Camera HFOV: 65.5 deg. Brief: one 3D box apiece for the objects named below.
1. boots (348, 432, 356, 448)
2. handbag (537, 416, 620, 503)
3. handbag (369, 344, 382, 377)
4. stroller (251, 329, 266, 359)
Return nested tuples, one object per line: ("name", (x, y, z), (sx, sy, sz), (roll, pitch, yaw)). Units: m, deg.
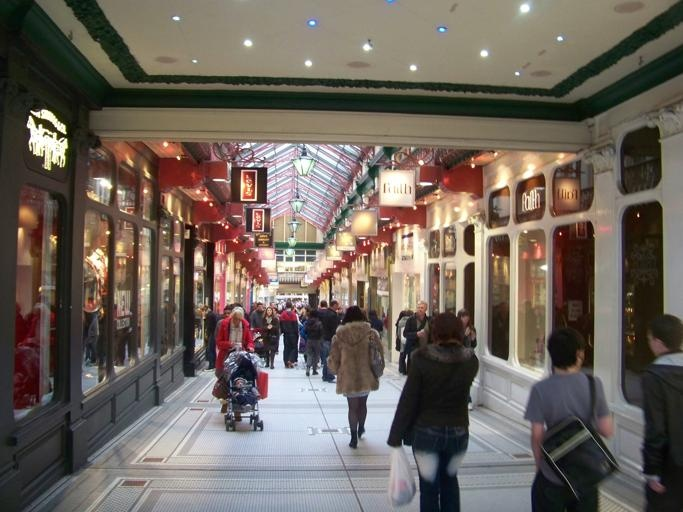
("boots", (0.131, 2.618, 7.618), (0.085, 0.220, 0.210), (1, 0, -1))
("handbag", (1.883, 1.616, 4.384), (0.467, 0.634, 0.638), (-40, -19, 4))
("handbag", (0.476, 1.489, 7.508), (0.141, 0.395, 0.353), (-11, -14, 6))
("stroller", (-2.348, 2.435, 14.855), (0.591, 0.917, 0.793), (1, -8, -6))
